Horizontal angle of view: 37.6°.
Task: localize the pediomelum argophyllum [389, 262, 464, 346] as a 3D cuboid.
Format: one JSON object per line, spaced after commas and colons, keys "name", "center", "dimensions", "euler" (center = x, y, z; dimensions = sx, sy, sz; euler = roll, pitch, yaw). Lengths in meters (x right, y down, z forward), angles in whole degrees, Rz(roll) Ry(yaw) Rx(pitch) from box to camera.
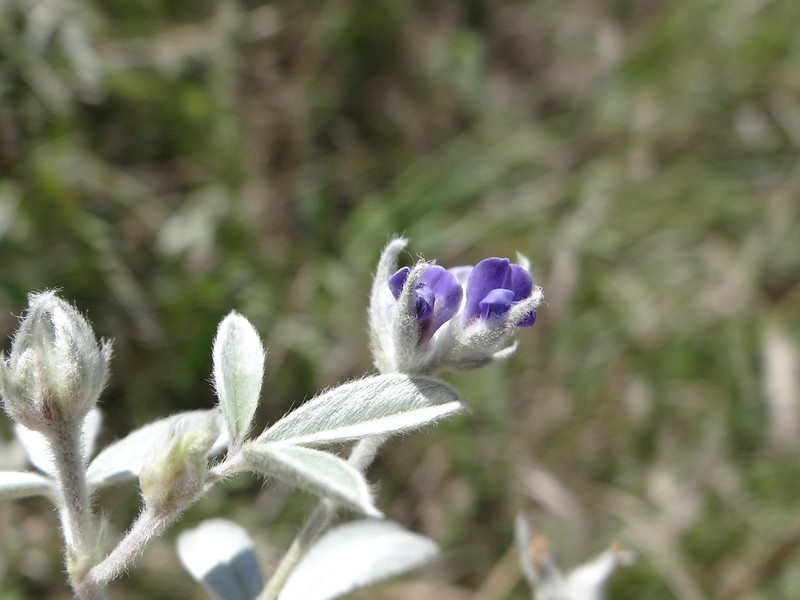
{"name": "pediomelum argophyllum", "center": [0.083, 0.003, 2.919], "dimensions": [0.146, 0.169, 0.079], "euler": [-17, -6, -26]}
